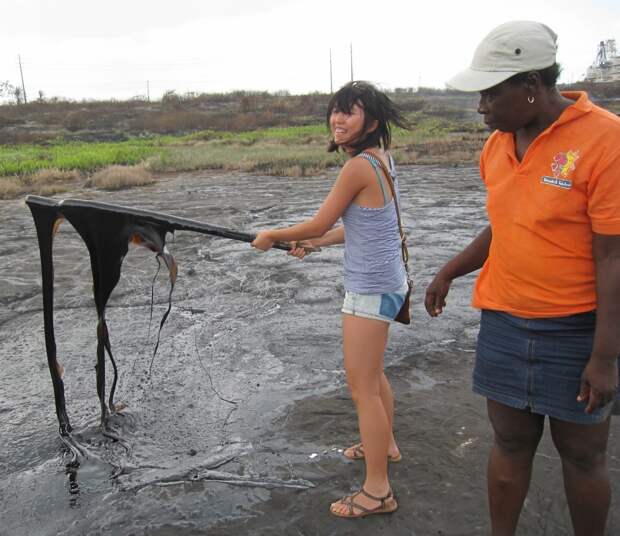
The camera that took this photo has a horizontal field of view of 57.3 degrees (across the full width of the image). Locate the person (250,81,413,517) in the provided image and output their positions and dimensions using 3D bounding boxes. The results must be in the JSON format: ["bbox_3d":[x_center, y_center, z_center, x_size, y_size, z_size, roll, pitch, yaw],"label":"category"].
[{"bbox_3d":[0.204,0.174,3.048,0.652,2.293,0.678,-1,16,8],"label":"person"}]

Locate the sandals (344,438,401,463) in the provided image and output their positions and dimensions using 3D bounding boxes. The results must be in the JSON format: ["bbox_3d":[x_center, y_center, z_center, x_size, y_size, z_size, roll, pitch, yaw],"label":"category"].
[{"bbox_3d":[0.416,1.130,3.527,0.427,0.083,0.145,3,10,5],"label":"sandals"}]

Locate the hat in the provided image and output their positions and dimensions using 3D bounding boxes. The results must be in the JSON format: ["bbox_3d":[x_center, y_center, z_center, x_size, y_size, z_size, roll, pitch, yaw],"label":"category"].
[{"bbox_3d":[0.754,-0.862,2.297,0.443,0.277,0.348,2,14,16],"label":"hat"}]

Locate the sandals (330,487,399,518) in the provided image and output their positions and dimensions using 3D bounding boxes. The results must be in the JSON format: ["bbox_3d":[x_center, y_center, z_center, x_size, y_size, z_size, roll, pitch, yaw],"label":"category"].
[{"bbox_3d":[0.287,1.277,3.104,0.364,0.095,0.149,0,4,1],"label":"sandals"}]
